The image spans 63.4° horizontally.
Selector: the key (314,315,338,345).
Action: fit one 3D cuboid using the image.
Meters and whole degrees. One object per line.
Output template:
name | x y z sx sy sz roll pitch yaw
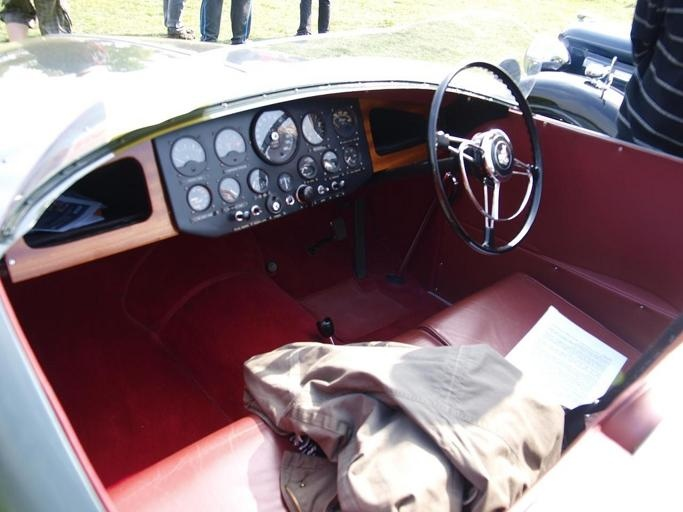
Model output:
key | -0.067 0.333 2.526 0.064 0.142 0.052 -10 13 -32
